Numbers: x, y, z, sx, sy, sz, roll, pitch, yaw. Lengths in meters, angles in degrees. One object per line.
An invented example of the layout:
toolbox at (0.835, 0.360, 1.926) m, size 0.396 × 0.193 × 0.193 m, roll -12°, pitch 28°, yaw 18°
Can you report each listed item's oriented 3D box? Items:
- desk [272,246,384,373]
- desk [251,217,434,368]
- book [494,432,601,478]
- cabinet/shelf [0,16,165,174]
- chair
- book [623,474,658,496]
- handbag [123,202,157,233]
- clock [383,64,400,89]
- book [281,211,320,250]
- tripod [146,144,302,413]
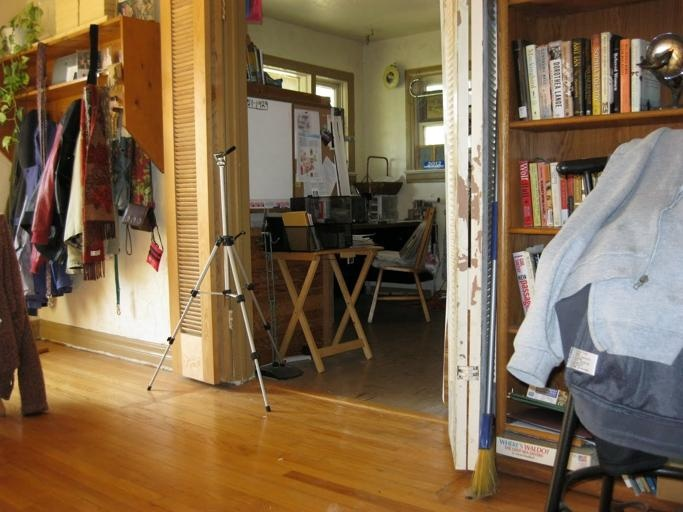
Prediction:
desk at (-0.132, 0.374, 4.449) m, size 0.663 × 0.861 × 0.545 m, roll -2°, pitch 1°, yaw -40°
desk at (-0.117, 0.291, 4.895) m, size 1.077 × 1.345 × 0.987 m, roll -6°, pitch 6°, yaw -44°
book at (0.885, 0.862, 2.514) m, size 0.421 × 0.113 × 0.085 m, roll 3°, pitch 7°, yaw 28°
cabinet/shelf at (-1.878, -1.176, 4.233) m, size 1.250 × 0.775 × 0.260 m, roll 3°, pitch 5°, yaw 42°
chair at (0.618, 0.063, 6.143) m, size 0.612 × 1.129 × 0.582 m, roll 3°, pitch 3°, yaw 1°
book at (1.203, 0.917, 2.327) m, size 0.122 × 0.074 × 0.040 m, roll 2°, pitch 6°, yaw 24°
handbag at (-1.437, -0.280, 4.114) m, size 0.153 × 0.132 × 0.085 m, roll 19°, pitch 17°, yaw 7°
clock at (0.717, -2.519, 8.149) m, size 0.249 × 0.320 × 0.131 m, roll 5°, pitch 8°, yaw 43°
book at (-0.299, -0.167, 4.195) m, size 0.272 × 0.284 × 0.067 m, roll 6°, pitch 18°, yaw 37°
tripod at (-0.782, 0.083, 3.736) m, size 0.970 × 1.573 × 1.131 m, roll -3°, pitch 6°, yaw -22°
